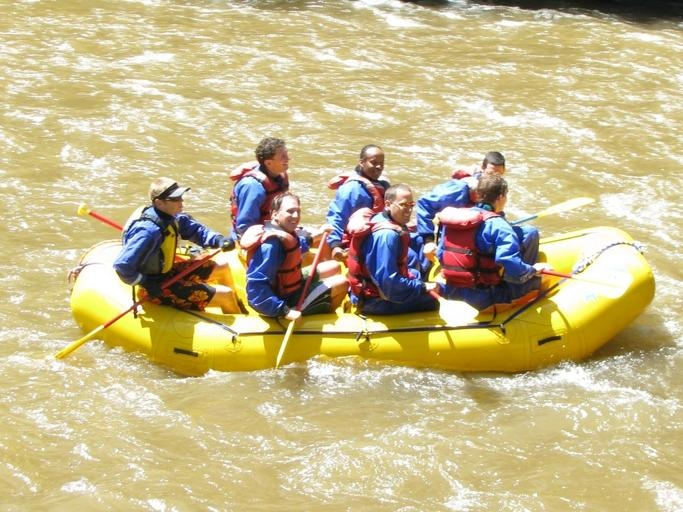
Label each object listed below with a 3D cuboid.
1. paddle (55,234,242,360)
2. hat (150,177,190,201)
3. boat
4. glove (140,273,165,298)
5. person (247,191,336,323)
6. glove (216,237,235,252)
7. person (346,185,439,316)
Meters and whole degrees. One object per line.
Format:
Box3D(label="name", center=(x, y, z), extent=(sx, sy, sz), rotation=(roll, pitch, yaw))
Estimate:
Box3D(label="paddle", center=(-2.080, 0.495, 12.080), extent=(3.770, 0.322, 0.266), rotation=(-19, 70, 3))
Box3D(label="hat", center=(-1.911, -0.743, 11.825), extent=(0.526, 0.160, 0.260), rotation=(-8, 12, -4))
Box3D(label="boat", center=(0.106, 0.707, 11.985), extent=(6.199, 0.782, 1.958), rotation=(1, 28, 4))
Box3D(label="glove", center=(-2.083, 0.318, 11.875), extent=(0.247, 0.272, 0.235), rotation=(3, 30, -8))
Box3D(label="person", center=(-0.568, 0.015, 11.788), extent=(1.081, 1.375, 1.003), rotation=(10, 31, 3))
Box3D(label="glove", center=(-1.310, -0.151, 12.223), extent=(0.226, 0.062, 0.168), rotation=(-16, 39, 0))
Box3D(label="person", center=(0.560, -0.046, 11.773), extent=(0.749, 1.511, 0.863), rotation=(-10, 37, -26))
